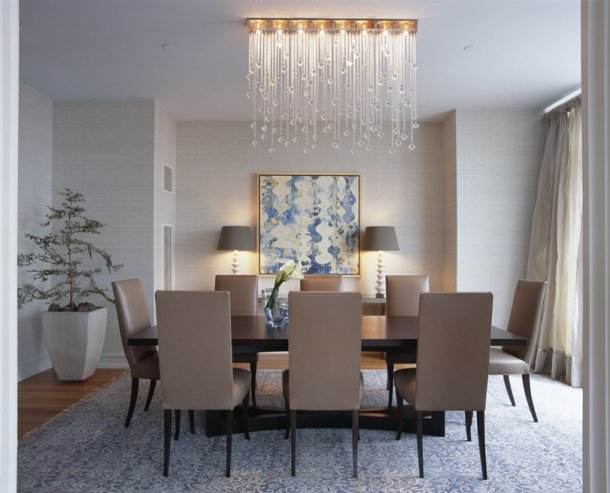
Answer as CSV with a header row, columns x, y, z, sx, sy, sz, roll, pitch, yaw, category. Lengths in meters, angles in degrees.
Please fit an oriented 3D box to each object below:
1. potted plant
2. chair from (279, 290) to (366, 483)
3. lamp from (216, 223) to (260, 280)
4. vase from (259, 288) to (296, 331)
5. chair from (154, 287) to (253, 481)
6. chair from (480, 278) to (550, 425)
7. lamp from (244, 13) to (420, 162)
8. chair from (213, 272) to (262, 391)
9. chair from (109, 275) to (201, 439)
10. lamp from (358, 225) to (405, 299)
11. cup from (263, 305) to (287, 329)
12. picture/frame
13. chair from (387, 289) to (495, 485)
x,y,z,sx,sy,sz,roll,pitch,yaw,category
-2.465,0.393,5.871,0.954,1.944,1.101,-5,12,-24,potted plant
0.144,0.967,4.199,0.631,1.406,0.711,1,8,3,chair
-0.816,0.057,6.758,0.434,0.614,0.491,-1,11,-4,lamp
-0.220,0.528,4.532,0.276,0.349,0.320,1,-10,-4,vase
-0.767,0.945,4.169,0.605,1.348,0.772,1,6,3,chair
1.611,0.848,4.786,0.727,1.182,0.730,2,2,-17,chair
0.379,-1.537,5.207,1.316,1.091,0.787,4,12,23,lamp
-0.643,0.787,5.249,0.440,1.018,0.536,2,27,-4,chair
-1.222,0.877,4.648,0.676,1.205,0.612,0,9,-9,chair
0.916,0.178,6.734,0.465,0.827,0.485,-2,2,-19,lamp
-0.233,0.569,4.418,0.162,0.131,0.157,1,-2,0,cup
0.069,-0.239,6.849,1.131,1.265,0.041,0,1,3,picture/frame
1.066,0.946,4.168,0.641,1.338,0.749,-2,7,-7,chair
